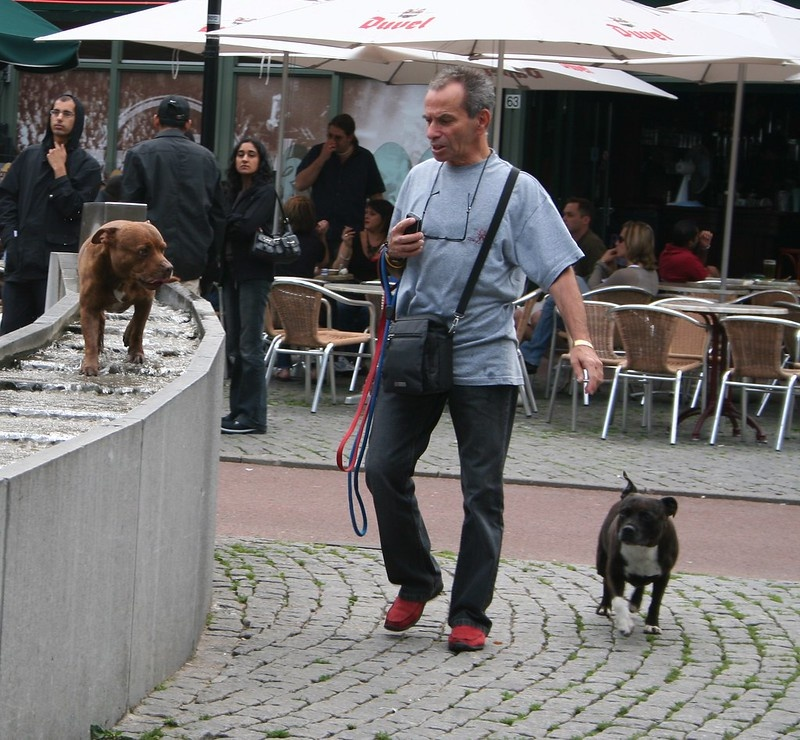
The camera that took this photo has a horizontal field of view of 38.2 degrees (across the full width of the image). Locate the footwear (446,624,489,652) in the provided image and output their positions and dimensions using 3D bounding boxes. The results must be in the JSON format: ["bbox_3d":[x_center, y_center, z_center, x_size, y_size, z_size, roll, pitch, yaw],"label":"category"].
[{"bbox_3d":[0.255,0.994,4.364,0.087,0.052,0.154,2,3,8],"label":"footwear"}]

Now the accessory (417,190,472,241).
[{"bbox_3d":[0.176,-0.567,4.340,0.224,0.194,0.025,18,-12,26],"label":"accessory"}]

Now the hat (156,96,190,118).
[{"bbox_3d":[-1.555,-1.734,7.960,0.208,0.208,0.131,7,-38,-7],"label":"hat"}]

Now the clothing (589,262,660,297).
[{"bbox_3d":[2.037,-0.836,10.827,0.603,0.206,0.425,-1,3,38],"label":"clothing"}]

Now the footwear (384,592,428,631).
[{"bbox_3d":[0.018,0.949,4.559,0.093,0.085,0.219,16,43,35],"label":"footwear"}]

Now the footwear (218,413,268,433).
[{"bbox_3d":[-1.188,0.383,8.506,0.407,0.115,0.136,6,0,-12],"label":"footwear"}]
